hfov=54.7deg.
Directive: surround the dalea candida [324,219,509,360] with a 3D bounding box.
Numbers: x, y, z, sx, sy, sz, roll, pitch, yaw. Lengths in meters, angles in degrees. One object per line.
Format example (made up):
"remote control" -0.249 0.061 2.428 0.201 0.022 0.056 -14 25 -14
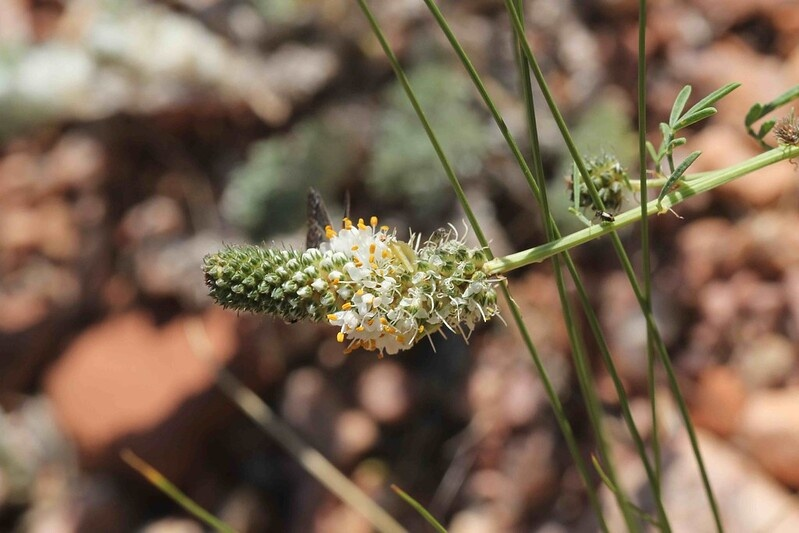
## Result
"dalea candida" 0.029 0.038 1.254 0.231 0.231 0.140 -17 -42 3
